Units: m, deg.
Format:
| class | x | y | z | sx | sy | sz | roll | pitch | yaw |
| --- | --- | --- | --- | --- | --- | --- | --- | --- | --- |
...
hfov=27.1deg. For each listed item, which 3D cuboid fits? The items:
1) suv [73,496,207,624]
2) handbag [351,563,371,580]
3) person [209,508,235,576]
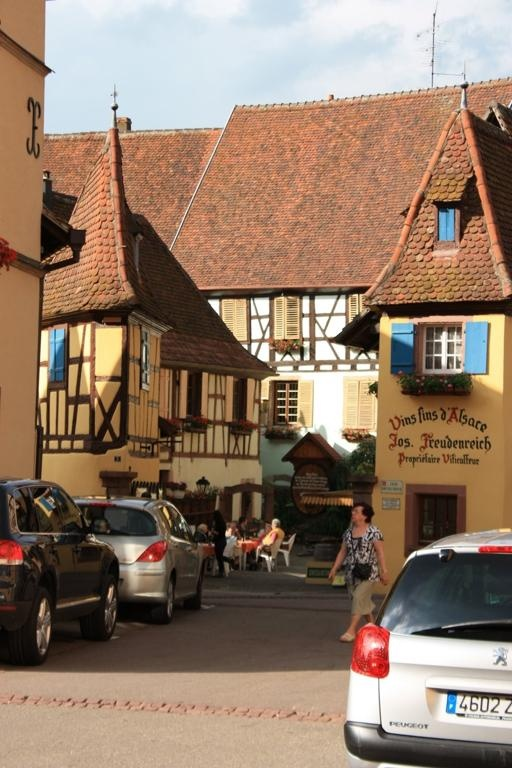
| class | x | y | z | sx | sy | sz | roll | pitch | yaw |
| --- | --- | --- | --- | --- | --- | --- | --- | --- | --- |
| suv | -1.326 | 2.030 | 13.242 | 0.898 | 0.908 | 2.071 | 0 | 0 | 9 |
| handbag | 1.119 | 1.979 | 11.216 | 0.161 | 0.176 | 0.159 | 0 | -5 | -3 |
| person | -0.795 | 3.496 | 23.644 | 0.371 | 1.483 | 1.979 | -9 | -1 | -3 |
